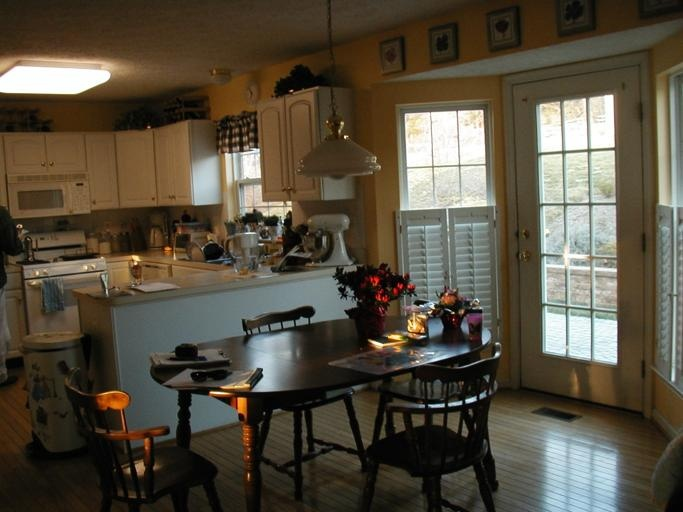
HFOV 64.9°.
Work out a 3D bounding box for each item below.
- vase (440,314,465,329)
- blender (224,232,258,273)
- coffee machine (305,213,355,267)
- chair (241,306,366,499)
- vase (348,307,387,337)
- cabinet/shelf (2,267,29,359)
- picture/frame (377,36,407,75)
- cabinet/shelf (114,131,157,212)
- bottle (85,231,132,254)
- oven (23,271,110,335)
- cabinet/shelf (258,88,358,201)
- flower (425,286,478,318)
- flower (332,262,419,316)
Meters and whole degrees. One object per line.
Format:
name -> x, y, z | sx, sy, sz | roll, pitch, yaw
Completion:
vase -> 0.663, 0.381, 3.179 | 0.096, 0.061, 0.090 | -1, 6, -16
blender -> -0.826, -0.026, 4.269 | 0.221, 0.318, 0.331 | 4, 9, 31
coffee machine -> -0.209, -0.135, 4.489 | 0.505, 0.532, 0.281 | 0, 4, -34
chair -> -0.327, 0.818, 3.155 | 0.791, 1.196, 0.786 | 2, -9, -12
vase -> 0.157, 0.374, 3.132 | 0.205, 0.156, 0.180 | 1, -1, -36
cabinet/shelf -> -3.376, 0.604, 5.506 | 0.236, 0.978, 0.254 | -13, 19, -42
picture/frame -> 0.409, -1.587, 4.239 | 0.046, 0.330, 0.345 | -9, 10, -43
cabinet/shelf -> -2.416, -1.048, 6.613 | 0.537, 0.903, 0.481 | 0, 8, 12
bottle -> -2.879, -0.157, 6.601 | 0.515, 0.242, 0.409 | -6, 15, -24
oven -> -2.868, 0.521, 5.802 | 0.906, 0.790, 0.657 | -7, -10, 2
cabinet/shelf -> -0.304, -0.933, 4.797 | 0.501, 0.899, 1.052 | -9, 11, -32
flower -> 0.683, 0.249, 3.239 | 0.233, 0.110, 0.246 | -1, 0, 2
flower -> 0.188, 0.203, 3.206 | 0.440, 0.274, 0.378 | 4, 14, -5
